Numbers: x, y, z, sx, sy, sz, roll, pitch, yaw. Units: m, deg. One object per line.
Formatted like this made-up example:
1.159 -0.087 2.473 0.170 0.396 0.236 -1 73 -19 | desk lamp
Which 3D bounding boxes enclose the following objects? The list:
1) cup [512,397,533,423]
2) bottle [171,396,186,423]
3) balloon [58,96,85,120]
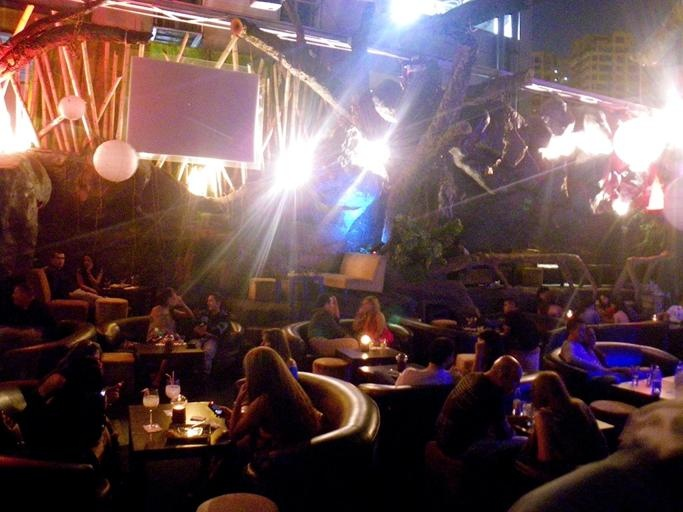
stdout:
2.083 1.811 6.620 0.195 0.356 0.214 -2 3 0 | cup
-1.722 1.633 6.054 0.195 0.278 0.220 0 1 -4 | bottle
-5.332 -2.974 11.266 0.426 0.398 0.879 4 -3 -24 | balloon
